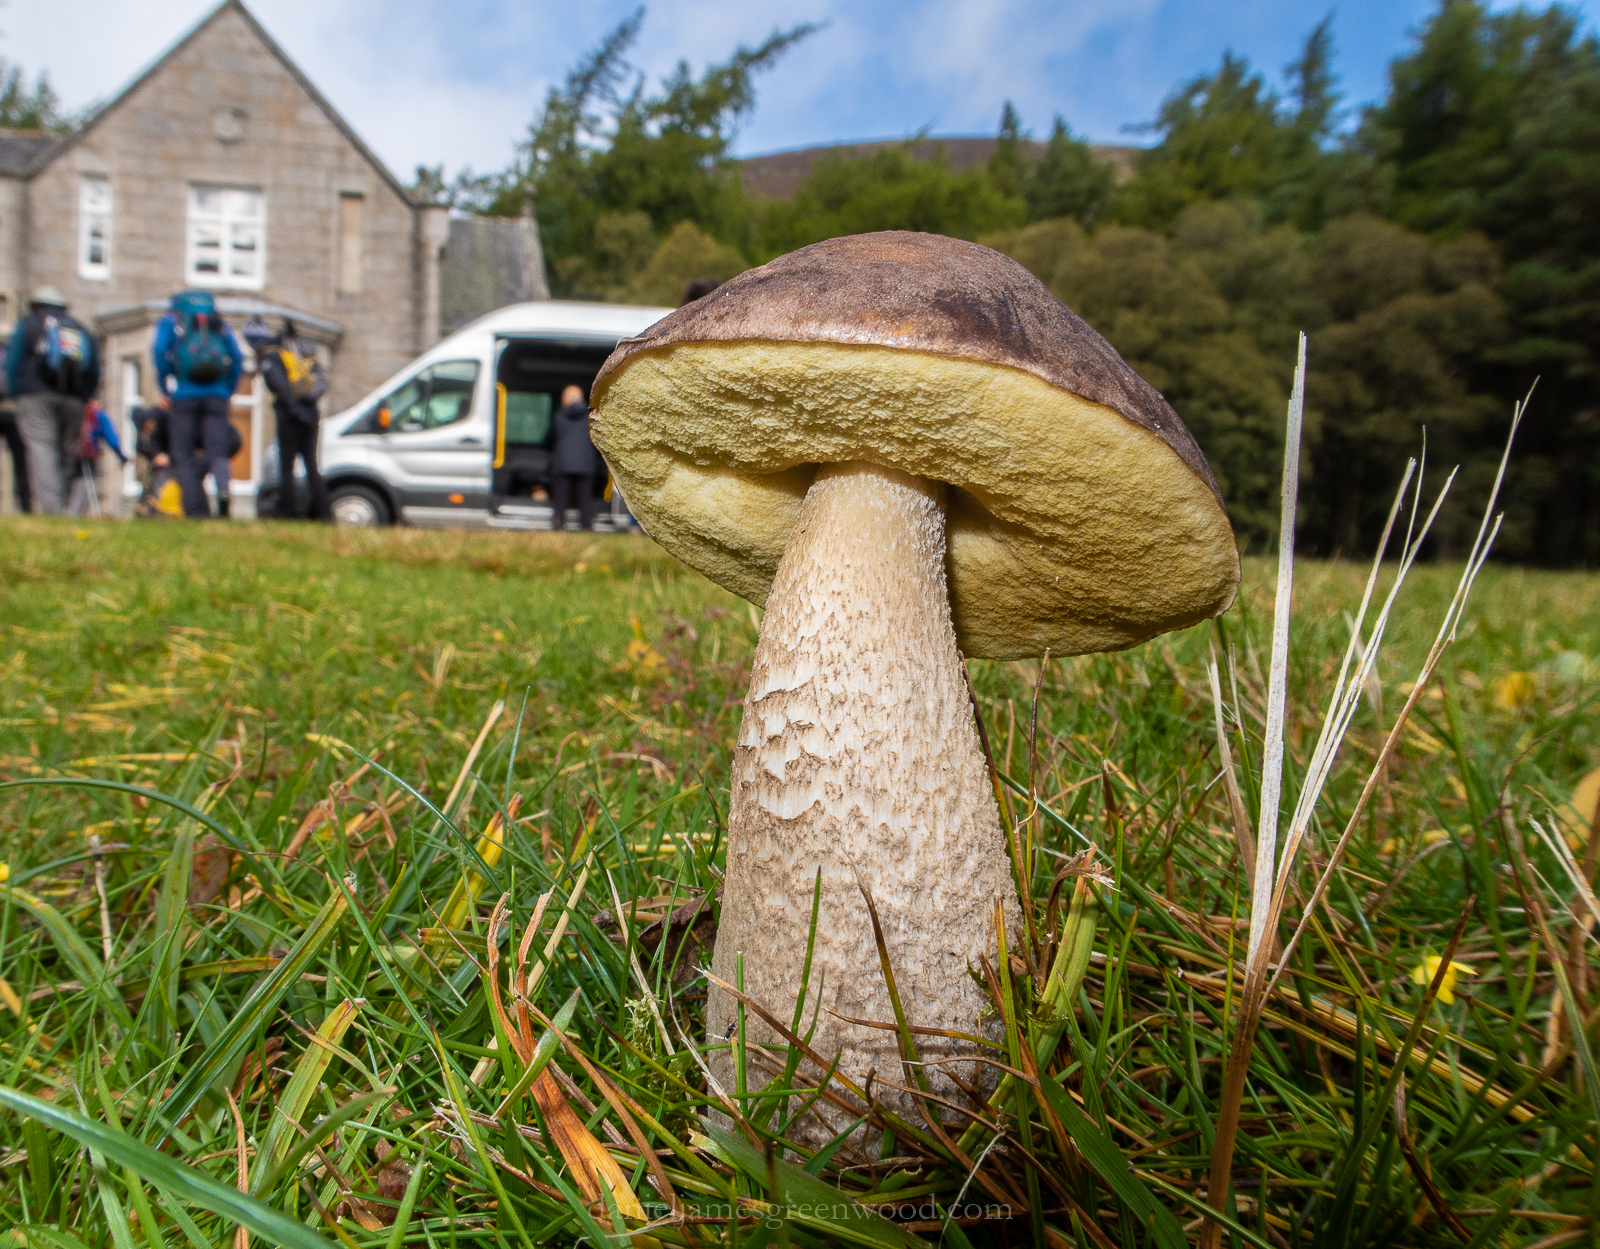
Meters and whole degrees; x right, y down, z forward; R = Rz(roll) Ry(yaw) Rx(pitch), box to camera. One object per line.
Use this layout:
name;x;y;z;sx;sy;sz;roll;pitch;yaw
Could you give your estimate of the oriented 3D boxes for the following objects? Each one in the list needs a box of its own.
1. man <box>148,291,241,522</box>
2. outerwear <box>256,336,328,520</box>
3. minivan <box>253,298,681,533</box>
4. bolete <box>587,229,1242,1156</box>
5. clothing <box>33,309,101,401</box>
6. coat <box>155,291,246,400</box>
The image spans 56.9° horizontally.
man;-1.524;-0.573;3.662;0.253;0.753;0.351;5;44;-21
outerwear;-1.362;-0.554;3.900;0.179;0.525;0.165;9;23;17
minivan;-2.579;-1.801;13.257;4.221;2.404;1.620;2;2;-22
bolete;0.191;0.061;2.849;1.194;1.609;0.860;0;12;-7
clothing;-1.675;-0.600;3.334;0.098;0.217;0.138;-10;-7;41
coat;-1.483;-0.684;3.671;0.177;0.276;0.146;-12;-3;-13
